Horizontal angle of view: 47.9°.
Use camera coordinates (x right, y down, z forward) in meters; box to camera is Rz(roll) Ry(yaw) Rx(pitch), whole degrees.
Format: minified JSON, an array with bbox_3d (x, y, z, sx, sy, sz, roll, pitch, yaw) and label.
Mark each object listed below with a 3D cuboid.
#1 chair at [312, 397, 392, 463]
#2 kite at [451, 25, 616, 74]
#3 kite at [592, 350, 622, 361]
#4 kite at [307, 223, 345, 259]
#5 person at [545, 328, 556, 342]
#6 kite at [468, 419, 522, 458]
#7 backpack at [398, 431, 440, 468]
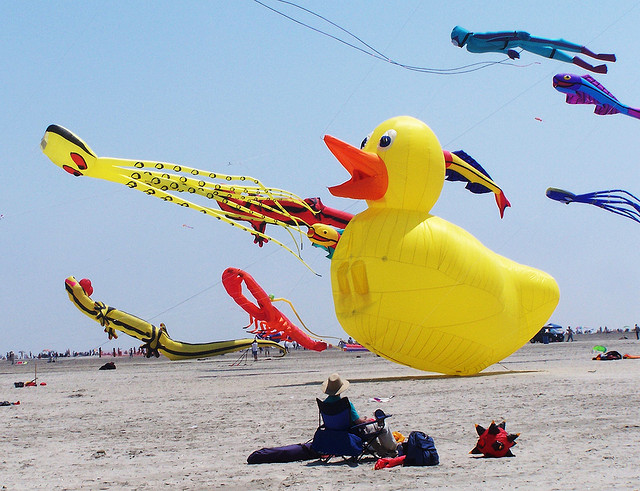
[{"bbox_3d":[0.501,3.086,12.075,1.003,1.055,1.134,-3,-2,40],"label":"chair"},{"bbox_3d":[3.892,-3.753,13.481,2.710,0.994,0.758,-2,-4,4],"label":"kite"},{"bbox_3d":[9.560,3.634,23.853,0.916,0.274,0.869,-2,-4,2],"label":"kite"},{"bbox_3d":[0.136,-0.238,20.098,0.850,0.459,1.284,5,-8,-5],"label":"kite"},{"bbox_3d":[13.732,5.354,42.900,0.727,1.074,0.381,0,-5,-12],"label":"person"},{"bbox_3d":[2.818,3.155,11.719,0.718,0.529,0.263,-3,-4,12],"label":"kite"},{"bbox_3d":[1.683,3.387,11.679,0.576,0.629,0.435,4,-6,22],"label":"backpack"}]
